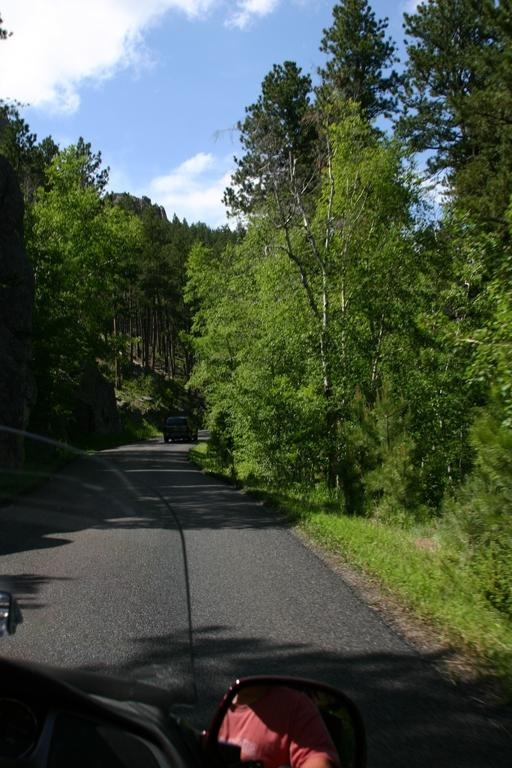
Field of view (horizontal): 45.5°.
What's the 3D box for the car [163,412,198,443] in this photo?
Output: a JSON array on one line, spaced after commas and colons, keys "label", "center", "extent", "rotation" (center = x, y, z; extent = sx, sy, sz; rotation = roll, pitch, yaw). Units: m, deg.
[{"label": "car", "center": [-5.317, 3.338, 44.775], "extent": [1.390, 1.525, 3.282], "rotation": [0, 2, 3]}]
